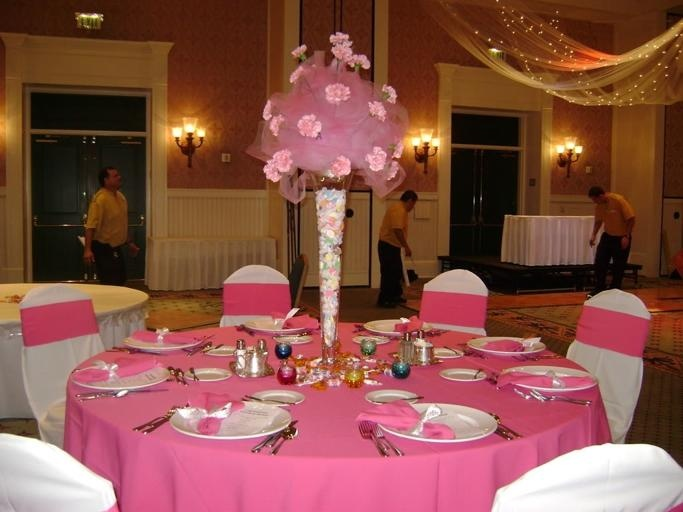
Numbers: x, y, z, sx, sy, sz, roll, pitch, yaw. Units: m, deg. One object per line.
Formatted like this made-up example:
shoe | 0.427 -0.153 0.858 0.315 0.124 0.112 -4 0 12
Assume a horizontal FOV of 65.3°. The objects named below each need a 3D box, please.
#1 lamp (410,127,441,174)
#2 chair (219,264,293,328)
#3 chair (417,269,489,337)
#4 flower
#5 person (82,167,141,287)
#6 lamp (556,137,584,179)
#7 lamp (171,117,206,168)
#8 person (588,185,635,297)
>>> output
lamp | 1.585 -1.975 9.986 0.545 0.820 0.305 1 5 -1
chair | -0.532 0.219 3.332 0.385 0.664 0.381 0 3 -5
chair | 0.686 0.232 3.210 0.337 0.592 0.389 4 4 19
flower | -0.040 -0.273 2.173 0.642 1.277 0.408 0 5 -7
person | -2.564 -0.328 5.806 0.461 1.277 0.335 -2 6 -32
lamp | 4.707 -2.033 10.934 0.678 0.788 0.241 -2 6 -31
lamp | -2.573 -1.912 8.944 0.557 0.807 0.260 -1 5 -18
person | 3.969 -0.232 7.895 0.565 1.546 0.724 3 5 26
